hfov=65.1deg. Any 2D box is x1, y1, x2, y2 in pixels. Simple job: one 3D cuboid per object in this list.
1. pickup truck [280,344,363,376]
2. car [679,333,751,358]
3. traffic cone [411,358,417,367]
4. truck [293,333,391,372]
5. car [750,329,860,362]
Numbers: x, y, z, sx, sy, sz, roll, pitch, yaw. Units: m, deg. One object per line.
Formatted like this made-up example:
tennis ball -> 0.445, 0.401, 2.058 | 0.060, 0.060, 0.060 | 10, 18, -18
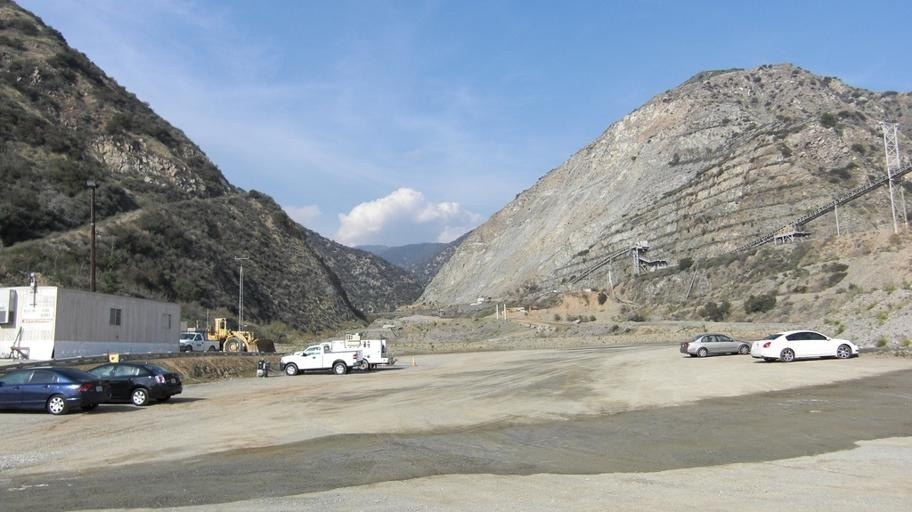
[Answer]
pickup truck -> -13.304, 10.352, 70.711 | 7.285, 2.355, 3.217 | 1, -5, 1
car -> 27.003, 9.169, 72.270 | 6.493, 1.740, 2.661 | -3, 0, -7
traffic cone -> -4.072, 11.793, 77.523 | 0.795, 0.895, 0.726 | 1, -15, -7
truck -> -10.476, 10.121, 73.155 | 9.649, 3.200, 3.466 | -1, -5, 12
car -> 32.318, 8.364, 64.273 | 8.420, 2.109, 3.507 | -3, -4, 1
